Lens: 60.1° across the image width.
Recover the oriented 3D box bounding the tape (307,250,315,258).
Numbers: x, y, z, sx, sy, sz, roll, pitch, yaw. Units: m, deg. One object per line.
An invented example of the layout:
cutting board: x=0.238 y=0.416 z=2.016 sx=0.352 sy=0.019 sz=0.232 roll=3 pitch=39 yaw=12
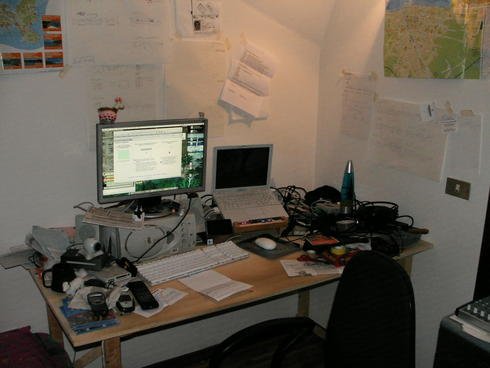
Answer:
tape: x=0.366 y=0.385 z=2.324 sx=0.043 sy=0.026 sz=0.031 roll=10 pitch=36 yaw=22

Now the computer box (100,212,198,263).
computer box: x=-0.546 y=0.262 z=2.352 sx=0.447 sy=0.239 sz=0.345 roll=-9 pitch=20 yaw=-39

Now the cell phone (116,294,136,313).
cell phone: x=-0.541 y=0.542 z=1.922 sx=0.084 sy=0.059 sz=0.114 roll=-3 pitch=9 yaw=-16

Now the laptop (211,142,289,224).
laptop: x=0.028 y=-0.011 z=2.652 sx=0.427 sy=0.452 sz=0.251 roll=-4 pitch=10 yaw=-20

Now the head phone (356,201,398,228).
head phone: x=0.813 y=0.182 z=2.608 sx=0.256 sy=0.086 sz=0.205 roll=-8 pitch=11 yaw=21

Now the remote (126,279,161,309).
remote: x=-0.477 y=0.519 z=1.979 sx=0.152 sy=0.052 sz=0.173 roll=-4 pitch=16 yaw=-27

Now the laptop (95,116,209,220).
laptop: x=-0.492 y=-0.133 z=2.320 sx=0.605 sy=0.435 sz=0.068 roll=-6 pitch=11 yaw=-28
